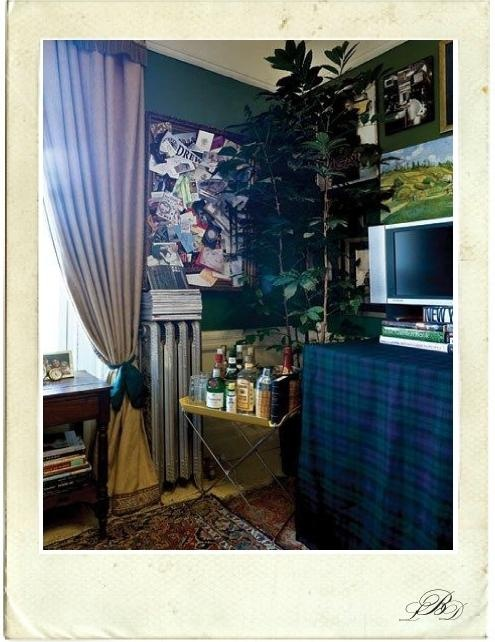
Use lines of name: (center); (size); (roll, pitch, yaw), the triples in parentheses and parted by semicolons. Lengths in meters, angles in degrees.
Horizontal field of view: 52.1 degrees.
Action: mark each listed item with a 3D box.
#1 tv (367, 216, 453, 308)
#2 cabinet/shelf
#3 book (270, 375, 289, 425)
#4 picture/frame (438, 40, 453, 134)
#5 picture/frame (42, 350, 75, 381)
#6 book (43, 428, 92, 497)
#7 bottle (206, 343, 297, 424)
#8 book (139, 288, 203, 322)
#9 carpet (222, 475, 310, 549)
tv: (0.748, -0.230, 2.022); (0.241, 0.320, 0.413); (-8, 9, -36)
cabinet/shelf: (-0.792, 0.610, 2.351); (0.301, 0.678, 0.505); (-2, 7, -21)
book: (0.134, 0.333, 2.088); (0.038, 0.149, 0.157); (5, 5, 29)
picture/frame: (1.011, -1.211, 2.600); (0.093, 0.465, 0.037); (5, 8, 32)
picture/frame: (-0.896, 0.213, 2.382); (0.015, 0.163, 0.204); (-25, -19, 38)
book: (-0.853, 0.654, 2.323); (0.201, 0.088, 0.263); (-4, 13, -29)
bottle: (0.048, 0.258, 2.268); (0.411, 0.289, 0.311); (5, 8, 34)
book: (-0.408, -0.086, 2.713); (0.313, 0.174, 0.159); (-1, 7, -11)
carpet: (0.089, 0.950, 2.476); (0.009, 0.403, 0.606); (-19, -24, -31)
